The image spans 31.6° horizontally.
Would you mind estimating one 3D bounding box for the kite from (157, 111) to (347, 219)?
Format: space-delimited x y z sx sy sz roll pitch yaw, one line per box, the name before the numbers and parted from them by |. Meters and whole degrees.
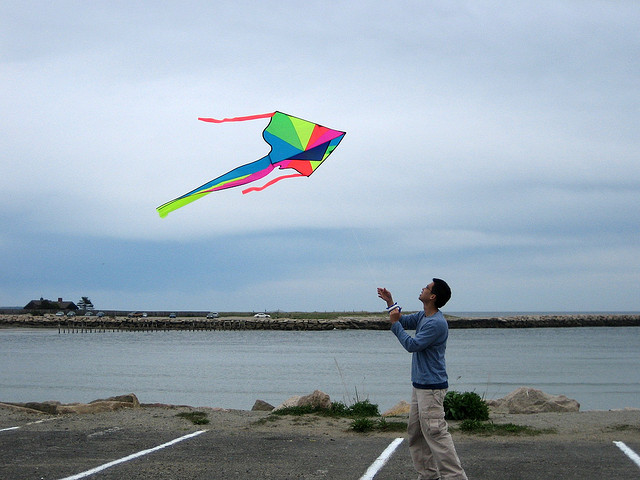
kite | -2.622 -2.582 38.544 7.858 3.027 0.732 -22 2 -5
